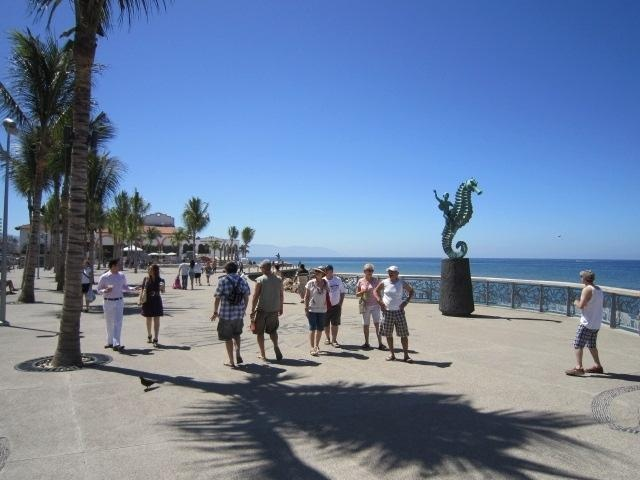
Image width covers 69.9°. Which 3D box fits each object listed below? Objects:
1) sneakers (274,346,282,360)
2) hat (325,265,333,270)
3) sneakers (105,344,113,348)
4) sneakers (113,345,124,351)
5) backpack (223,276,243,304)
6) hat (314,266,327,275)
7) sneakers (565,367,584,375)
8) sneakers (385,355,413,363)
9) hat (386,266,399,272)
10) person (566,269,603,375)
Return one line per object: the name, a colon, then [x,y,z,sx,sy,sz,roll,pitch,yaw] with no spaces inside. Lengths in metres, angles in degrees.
sneakers: [-0.855,2.287,9.153,0.107,0.258,0.241,-19,37,5]
hat: [0.198,0.624,10.238,0.089,0.102,0.126,3,-16,-15]
sneakers: [-4.448,2.262,9.645,0.184,0.079,0.065,1,2,28]
sneakers: [-4.181,2.269,9.499,0.173,0.094,0.263,-4,-5,-26]
backpack: [-1.623,0.922,8.321,0.290,0.429,0.430,8,-23,-14]
hat: [0.009,0.701,10.295,0.330,0.143,0.345,1,-13,9]
sneakers: [4.414,2.308,7.987,0.317,0.149,0.129,1,-5,10]
sneakers: [1.534,2.350,8.942,0.497,0.201,0.178,3,-10,13]
hat: [1.466,0.572,9.060,0.137,0.099,0.204,-3,-11,34]
person: [4.718,1.468,8.131,0.527,1.844,0.973,-1,-4,33]
